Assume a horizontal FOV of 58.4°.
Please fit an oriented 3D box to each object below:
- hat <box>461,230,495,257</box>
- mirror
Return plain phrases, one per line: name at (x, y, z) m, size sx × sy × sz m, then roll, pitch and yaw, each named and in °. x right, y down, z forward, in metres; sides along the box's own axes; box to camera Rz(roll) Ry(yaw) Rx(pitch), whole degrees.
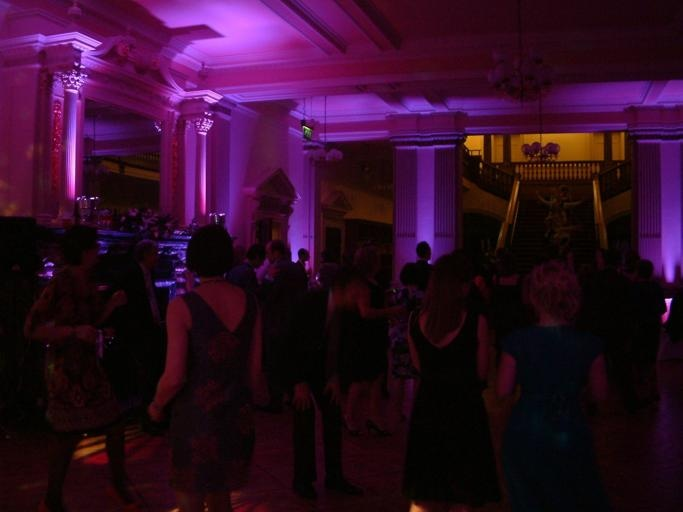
hat at (4.086, -0.374, 18.381) m, size 0.735 × 0.624 × 0.432 m, roll 0°, pitch -8°, yaw -9°
mirror at (-4.153, -1.926, 11.447) m, size 1.579 × 2.094 × 0.150 m, roll 11°, pitch 13°, yaw 22°
